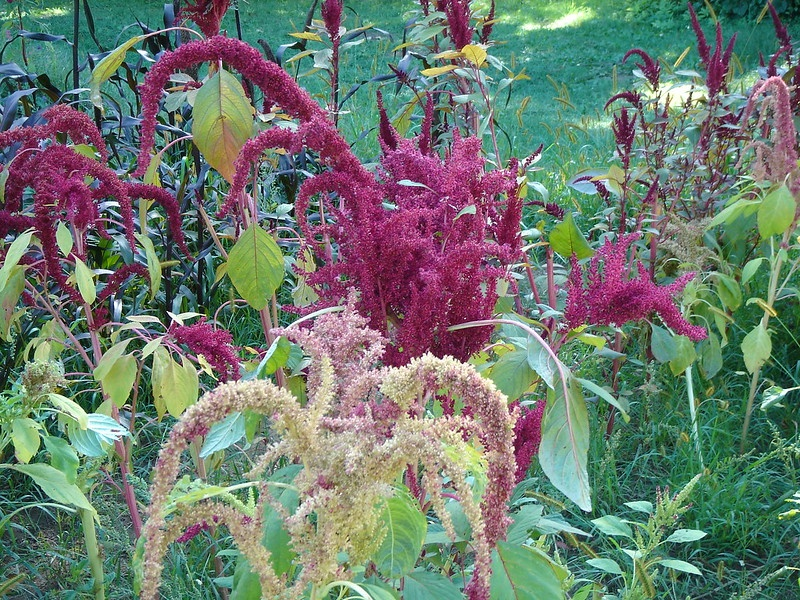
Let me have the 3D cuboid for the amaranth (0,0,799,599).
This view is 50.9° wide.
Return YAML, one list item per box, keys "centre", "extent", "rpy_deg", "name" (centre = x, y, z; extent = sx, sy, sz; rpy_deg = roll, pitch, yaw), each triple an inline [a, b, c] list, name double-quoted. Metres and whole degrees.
- centre: [0.032, -0.128, 3.675]
  extent: [2.299, 2.285, 2.490]
  rpy_deg: [3, -13, -4]
  name: "amaranth"
